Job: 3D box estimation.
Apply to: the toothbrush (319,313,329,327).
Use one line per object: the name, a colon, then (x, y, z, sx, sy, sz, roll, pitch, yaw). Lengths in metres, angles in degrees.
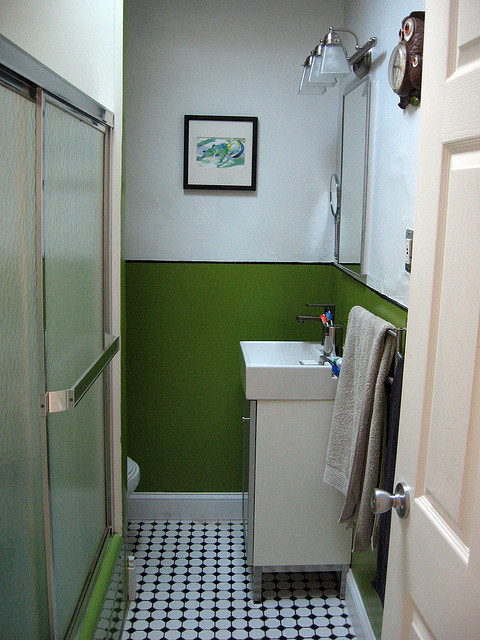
toothbrush: (0.395, -0.007, 2.369, 0.012, 0.049, 0.032, 0, -10, -38)

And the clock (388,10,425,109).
clock: (0.493, -0.767, 1.484, 0.072, 0.250, 0.226, 1, 6, 6)

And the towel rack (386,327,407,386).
towel rack: (0.441, 0.111, 1.449, 0.014, 0.170, 0.106, 7, -6, -16)

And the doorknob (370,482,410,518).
doorknob: (0.272, 0.326, 0.921, 0.058, 0.069, 0.069, 2, 6, 10)

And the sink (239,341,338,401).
sink: (0.198, 0.167, 2.394, 0.438, 0.266, 0.692, 2, 13, -2)
